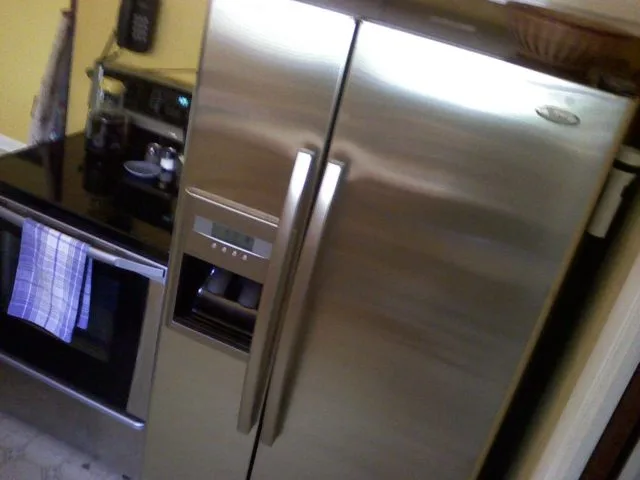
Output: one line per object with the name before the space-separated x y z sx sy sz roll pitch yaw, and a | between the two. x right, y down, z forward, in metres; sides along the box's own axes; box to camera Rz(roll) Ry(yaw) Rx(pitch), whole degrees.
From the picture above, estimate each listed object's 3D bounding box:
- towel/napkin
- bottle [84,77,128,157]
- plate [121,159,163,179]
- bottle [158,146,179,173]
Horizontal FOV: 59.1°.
towel/napkin | -0.938 0.120 1.966 0.320 0.388 0.134 25 30 18
bottle | -0.879 -0.512 2.362 0.173 0.314 0.342 10 13 -23
plate | -0.711 -0.282 2.250 0.103 0.021 0.099 -12 43 -28
bottle | -0.617 -0.318 2.277 0.100 0.121 0.071 -1 41 -18
